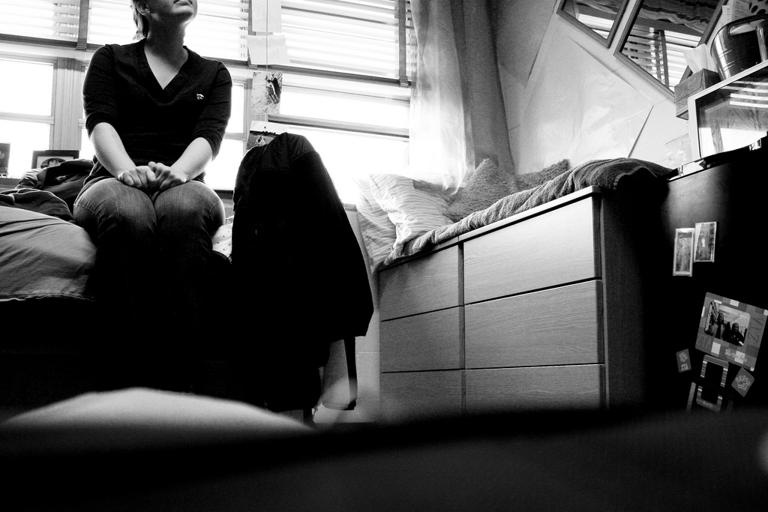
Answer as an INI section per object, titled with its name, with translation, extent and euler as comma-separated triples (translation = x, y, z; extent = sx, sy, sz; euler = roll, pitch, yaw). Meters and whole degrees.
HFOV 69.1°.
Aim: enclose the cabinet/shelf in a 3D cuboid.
[cabinet/shelf]
translation = 0.532, 0.362, 2.329
extent = 0.517, 0.807, 1.573
euler = 8, -14, -23
